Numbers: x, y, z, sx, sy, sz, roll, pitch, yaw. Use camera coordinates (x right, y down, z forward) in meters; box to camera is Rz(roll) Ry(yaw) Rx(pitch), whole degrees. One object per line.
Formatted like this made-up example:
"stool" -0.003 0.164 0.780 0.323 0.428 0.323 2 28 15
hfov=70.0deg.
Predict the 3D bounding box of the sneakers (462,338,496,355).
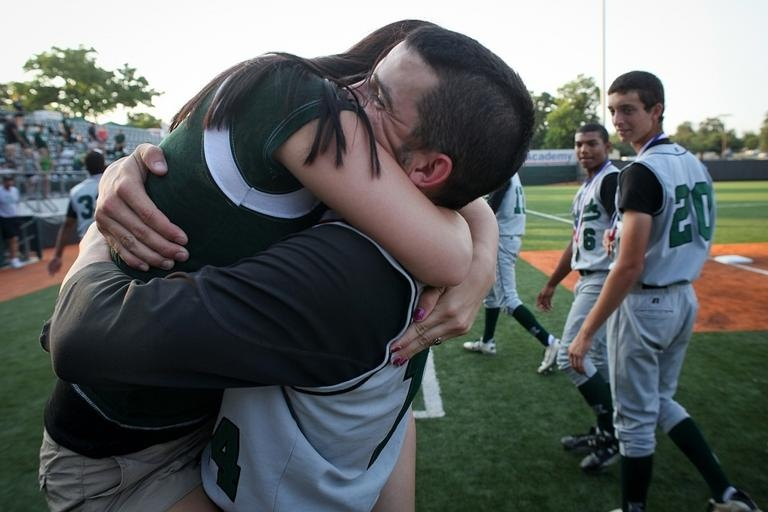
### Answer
"sneakers" 0.980 0.912 5.588 0.317 0.136 0.127 5 8 26

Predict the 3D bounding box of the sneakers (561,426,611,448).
"sneakers" 1.457 1.315 3.929 0.338 0.137 0.129 -7 28 12

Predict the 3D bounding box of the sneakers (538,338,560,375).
"sneakers" 1.525 0.927 5.016 0.126 0.318 0.111 12 25 -1
